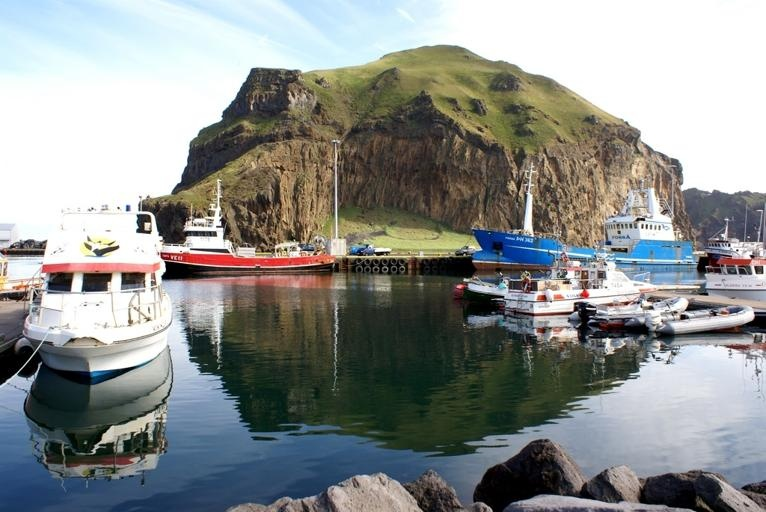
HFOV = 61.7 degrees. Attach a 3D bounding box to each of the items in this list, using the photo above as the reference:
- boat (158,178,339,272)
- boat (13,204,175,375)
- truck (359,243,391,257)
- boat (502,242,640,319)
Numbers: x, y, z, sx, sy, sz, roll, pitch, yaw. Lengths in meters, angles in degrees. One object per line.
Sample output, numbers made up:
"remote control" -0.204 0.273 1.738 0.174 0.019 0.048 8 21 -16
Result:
"boat" -18.766 -1.486 84.981 10.045 13.950 30.977 -5 -8 44
"boat" -12.956 1.466 29.603 6.645 6.443 22.327 0 1 -25
"truck" -1.143 -0.812 99.356 3.558 1.443 2.425 2 0 -8
"boat" 14.266 1.855 46.217 10.260 3.323 3.956 -3 4 -16
